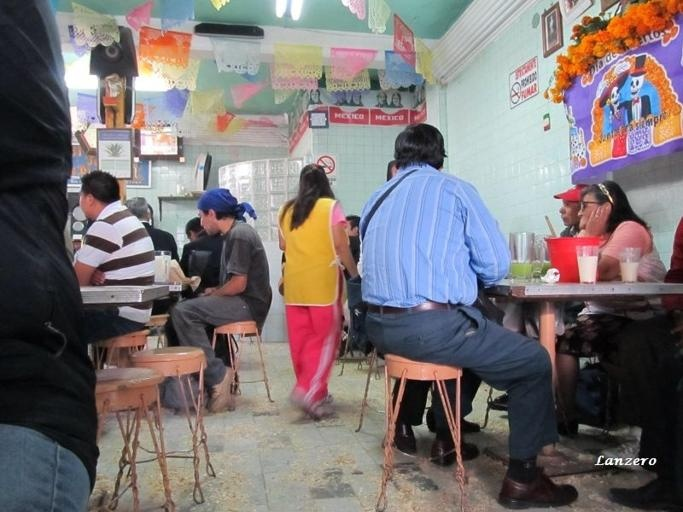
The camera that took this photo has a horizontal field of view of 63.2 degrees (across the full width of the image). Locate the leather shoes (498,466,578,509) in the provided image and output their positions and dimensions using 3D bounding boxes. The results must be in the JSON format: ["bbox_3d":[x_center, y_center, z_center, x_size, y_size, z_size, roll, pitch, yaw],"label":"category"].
[{"bbox_3d":[0.850,0.972,2.377,0.345,0.168,0.134,-2,-5,-6],"label":"leather shoes"}]

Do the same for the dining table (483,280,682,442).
[{"bbox_3d":[1.021,0.427,2.437,0.570,0.363,0.586,-1,1,-11],"label":"dining table"}]

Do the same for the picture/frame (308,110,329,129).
[{"bbox_3d":[-0.335,-1.976,8.057,0.273,0.260,0.067,1,-3,-11],"label":"picture/frame"}]

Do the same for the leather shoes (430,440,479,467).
[{"bbox_3d":[0.575,0.962,2.808,0.234,0.100,0.110,-11,6,-26],"label":"leather shoes"}]

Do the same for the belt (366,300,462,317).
[{"bbox_3d":[0.282,0.226,2.400,0.416,0.058,0.119,-1,0,30],"label":"belt"}]

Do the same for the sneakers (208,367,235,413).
[{"bbox_3d":[-0.820,0.921,3.783,0.139,0.329,0.112,-1,-30,3],"label":"sneakers"}]

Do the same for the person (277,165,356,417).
[{"bbox_3d":[-0.157,0.199,3.616,0.501,1.637,0.375,-1,1,-4],"label":"person"}]

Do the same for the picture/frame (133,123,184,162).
[{"bbox_3d":[-3.617,-2.213,10.971,0.874,0.547,0.476,-1,0,-18],"label":"picture/frame"}]

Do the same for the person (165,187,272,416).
[{"bbox_3d":[-0.918,0.294,4.057,0.747,1.483,0.661,3,-6,-21],"label":"person"}]

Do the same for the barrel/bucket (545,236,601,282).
[{"bbox_3d":[1.068,0.027,2.549,0.200,0.168,0.219,1,-6,0],"label":"barrel/bucket"}]

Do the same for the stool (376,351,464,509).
[{"bbox_3d":[0.373,0.734,2.523,0.401,0.626,0.787,-1,0,7],"label":"stool"}]
